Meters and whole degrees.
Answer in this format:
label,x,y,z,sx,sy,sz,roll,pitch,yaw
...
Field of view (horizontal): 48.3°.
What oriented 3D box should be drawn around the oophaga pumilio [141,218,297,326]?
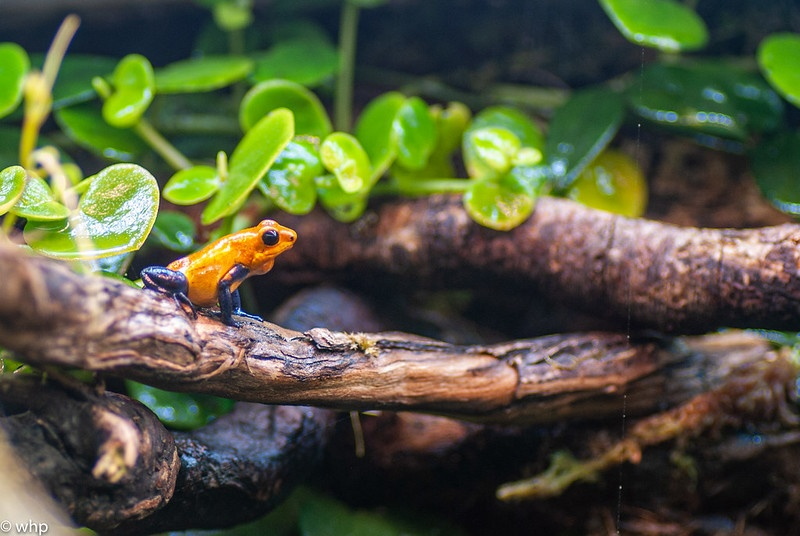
label,x,y,z,sx,sy,sz,roll,pitch,yaw
oophaga pumilio,-0.565,0.013,2.843,0.448,0.266,0.315,4,95,-7
